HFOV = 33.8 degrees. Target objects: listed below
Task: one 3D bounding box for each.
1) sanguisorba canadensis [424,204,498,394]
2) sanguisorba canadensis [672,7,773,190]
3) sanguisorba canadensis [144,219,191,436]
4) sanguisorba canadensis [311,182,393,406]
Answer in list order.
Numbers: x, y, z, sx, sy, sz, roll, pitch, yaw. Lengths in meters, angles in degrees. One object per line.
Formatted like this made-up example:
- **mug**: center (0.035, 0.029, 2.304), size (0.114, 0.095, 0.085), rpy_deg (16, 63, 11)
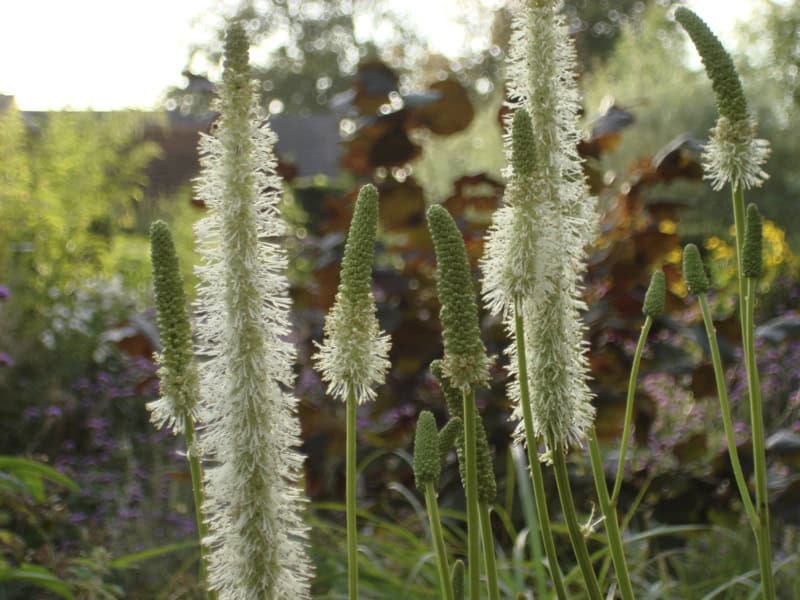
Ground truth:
- **sanguisorba canadensis**: center (0.343, 0.000, 7.380), size (0.329, 1.060, 0.302), rpy_deg (-2, -7, 2)
- **sanguisorba canadensis**: center (1.847, -1.185, 7.614), size (0.402, 1.126, 0.643), rpy_deg (-8, -10, 42)
- **sanguisorba canadensis**: center (-1.303, 0.167, 7.541), size (0.286, 1.193, 0.389), rpy_deg (0, -8, -11)
- **sanguisorba canadensis**: center (-0.283, -0.036, 7.510), size (0.423, 1.242, 0.453), rpy_deg (-2, -7, -1)
